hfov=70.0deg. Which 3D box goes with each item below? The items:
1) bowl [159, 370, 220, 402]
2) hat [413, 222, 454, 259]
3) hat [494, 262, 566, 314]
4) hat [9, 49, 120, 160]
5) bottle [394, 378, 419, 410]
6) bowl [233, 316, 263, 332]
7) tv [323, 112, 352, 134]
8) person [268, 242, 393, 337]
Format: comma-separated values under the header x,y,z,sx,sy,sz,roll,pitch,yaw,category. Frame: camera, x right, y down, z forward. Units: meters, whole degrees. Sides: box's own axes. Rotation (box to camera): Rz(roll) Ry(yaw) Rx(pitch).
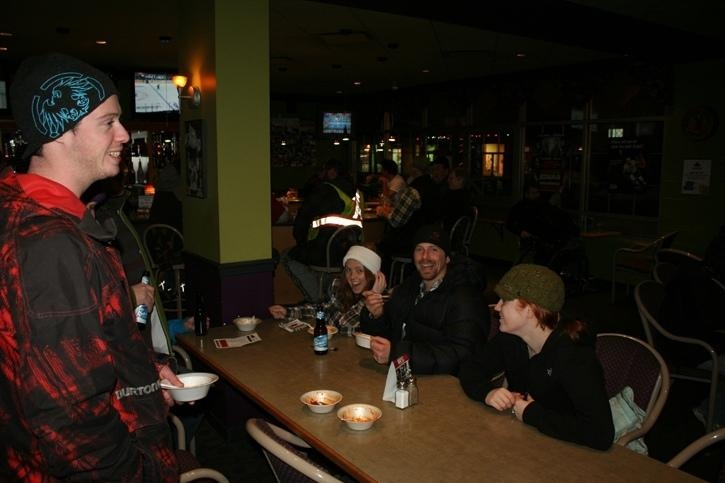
x,y,z,sx,sy,sz,roll,pitch,yaw,category
-0.835,0.695,2.541,0.254,0.082,0.230,-2,-25,17,bowl
0.502,0.007,3.389,0.211,0.163,0.215,23,-5,43,hat
0.849,0.219,2.549,0.307,0.152,0.228,19,7,27,hat
-1.012,-0.509,1.880,0.369,0.330,0.336,-9,21,-13,hat
0.209,0.732,2.476,0.103,0.175,0.098,-1,17,0,bottle
-0.746,0.540,3.390,0.105,0.036,0.102,0,7,0,bowl
-0.628,-2.811,12.269,0.606,0.397,0.020,-3,13,-21,tv
-0.127,0.367,3.652,0.824,0.550,0.509,8,15,-30,person
